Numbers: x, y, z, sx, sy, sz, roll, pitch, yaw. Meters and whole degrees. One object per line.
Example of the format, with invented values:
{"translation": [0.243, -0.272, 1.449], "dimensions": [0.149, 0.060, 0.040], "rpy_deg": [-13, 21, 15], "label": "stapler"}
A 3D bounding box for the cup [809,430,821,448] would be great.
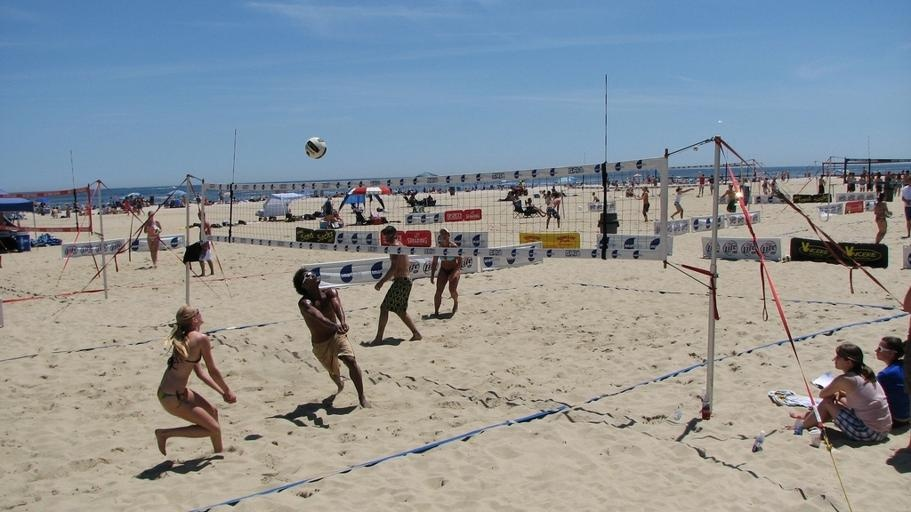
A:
{"translation": [5.132, 2.599, 11.191], "dimensions": [0.207, 0.186, 0.208], "rpy_deg": [-2, 1, 0], "label": "cup"}

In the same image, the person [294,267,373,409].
{"translation": [-1.944, 1.269, 12.388], "dimensions": [1.063, 2.132, 0.770], "rpy_deg": [3, 7, 32], "label": "person"}

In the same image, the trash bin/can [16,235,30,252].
{"translation": [-13.810, -0.421, 25.049], "dimensions": [0.351, 0.540, 0.850], "rpy_deg": [-3, 6, -20], "label": "trash bin/can"}

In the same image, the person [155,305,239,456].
{"translation": [-3.782, 1.796, 11.233], "dimensions": [1.037, 2.159, 0.514], "rpy_deg": [-3, 6, -20], "label": "person"}

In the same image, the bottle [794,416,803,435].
{"translation": [4.981, 2.465, 11.401], "dimensions": [0.131, 0.200, 0.169], "rpy_deg": [2, 6, 22], "label": "bottle"}

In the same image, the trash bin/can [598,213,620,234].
{"translation": [2.405, -0.502, 12.393], "dimensions": [0.393, 0.331, 0.357], "rpy_deg": [1, 4, 9], "label": "trash bin/can"}

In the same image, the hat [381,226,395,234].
{"translation": [-1.186, -0.456, 14.042], "dimensions": [0.243, 0.112, 0.223], "rpy_deg": [-1, 0, -3], "label": "hat"}

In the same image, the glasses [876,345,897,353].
{"translation": [6.307, 1.357, 11.469], "dimensions": [0.218, 0.057, 0.176], "rpy_deg": [5, -1, 25], "label": "glasses"}

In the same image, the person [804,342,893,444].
{"translation": [5.686, 2.016, 11.680], "dimensions": [1.504, 1.318, 0.785], "rpy_deg": [2, 2, 40], "label": "person"}

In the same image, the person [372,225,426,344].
{"translation": [-1.100, 0.493, 14.391], "dimensions": [0.877, 2.059, 1.118], "rpy_deg": [-1, 6, -3], "label": "person"}
